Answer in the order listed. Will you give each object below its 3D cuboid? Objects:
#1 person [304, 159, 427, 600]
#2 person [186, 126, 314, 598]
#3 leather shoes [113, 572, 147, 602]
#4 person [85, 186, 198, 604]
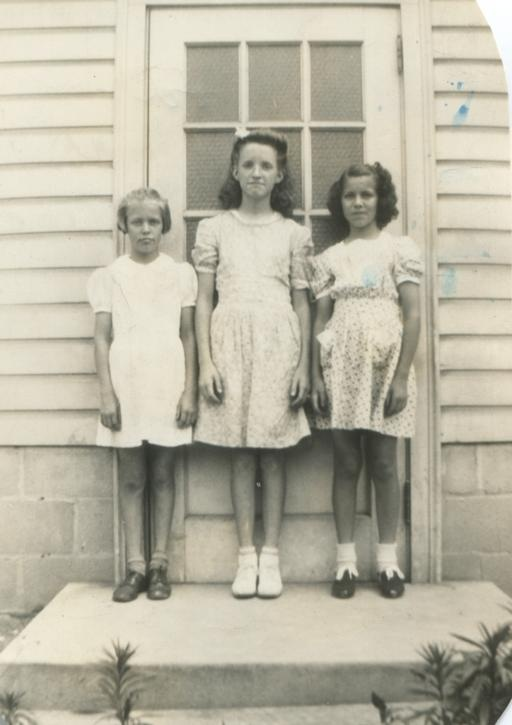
[{"bbox_3d":[0.349,0.049,3.497,0.348,1.390,0.263,0,-3,4],"label":"person"},{"bbox_3d":[-0.016,0.003,3.537,0.387,1.481,0.240,1,-3,3],"label":"person"},{"bbox_3d":[-0.391,0.703,3.443,0.062,0.092,0.131,-1,-4,28],"label":"leather shoes"},{"bbox_3d":[-0.370,0.100,3.549,0.352,1.310,0.241,1,-3,-11],"label":"person"}]
